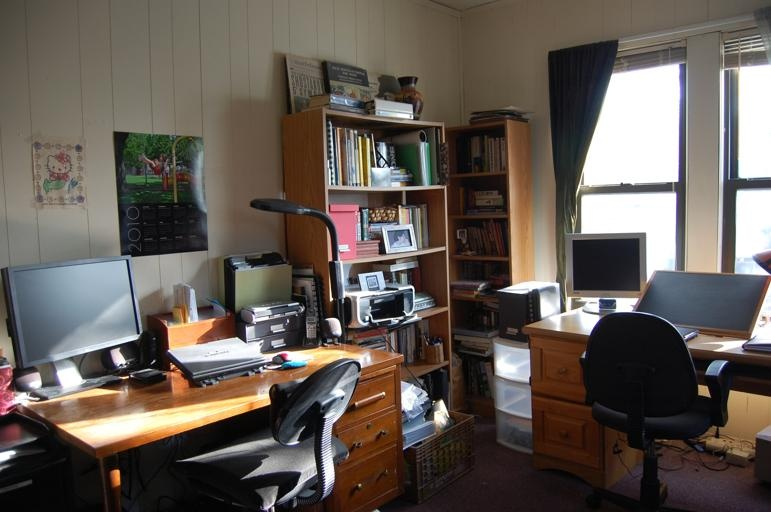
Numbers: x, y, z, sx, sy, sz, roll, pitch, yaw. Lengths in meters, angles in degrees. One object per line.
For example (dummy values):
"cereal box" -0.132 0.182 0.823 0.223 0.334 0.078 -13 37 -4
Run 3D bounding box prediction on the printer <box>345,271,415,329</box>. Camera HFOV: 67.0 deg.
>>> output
"printer" -0.044 0.303 4.093 0.513 0.352 0.368 -6 7 -28

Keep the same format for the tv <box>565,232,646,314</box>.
"tv" 1.540 0.103 4.058 0.589 0.581 0.206 0 -1 20

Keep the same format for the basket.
"basket" 0.381 1.329 3.821 0.416 0.412 0.687 -4 2 43

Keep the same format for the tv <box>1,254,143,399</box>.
"tv" -1.718 0.382 3.142 0.305 0.777 0.704 -2 3 38

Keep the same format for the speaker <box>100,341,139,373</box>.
"speaker" -1.526 0.588 3.354 0.170 0.191 0.188 5 -6 -23

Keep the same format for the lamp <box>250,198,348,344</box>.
"lamp" -0.516 0.110 3.600 0.508 0.941 0.619 -3 7 -5

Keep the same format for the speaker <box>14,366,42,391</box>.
"speaker" -1.892 0.640 3.086 0.131 0.105 0.105 -1 4 -35

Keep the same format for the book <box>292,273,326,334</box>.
"book" -0.496 0.294 3.869 0.263 0.370 0.114 4 15 31

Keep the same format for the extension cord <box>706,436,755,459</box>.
"extension cord" 2.361 1.307 4.025 0.159 0.056 0.161 3 5 44
